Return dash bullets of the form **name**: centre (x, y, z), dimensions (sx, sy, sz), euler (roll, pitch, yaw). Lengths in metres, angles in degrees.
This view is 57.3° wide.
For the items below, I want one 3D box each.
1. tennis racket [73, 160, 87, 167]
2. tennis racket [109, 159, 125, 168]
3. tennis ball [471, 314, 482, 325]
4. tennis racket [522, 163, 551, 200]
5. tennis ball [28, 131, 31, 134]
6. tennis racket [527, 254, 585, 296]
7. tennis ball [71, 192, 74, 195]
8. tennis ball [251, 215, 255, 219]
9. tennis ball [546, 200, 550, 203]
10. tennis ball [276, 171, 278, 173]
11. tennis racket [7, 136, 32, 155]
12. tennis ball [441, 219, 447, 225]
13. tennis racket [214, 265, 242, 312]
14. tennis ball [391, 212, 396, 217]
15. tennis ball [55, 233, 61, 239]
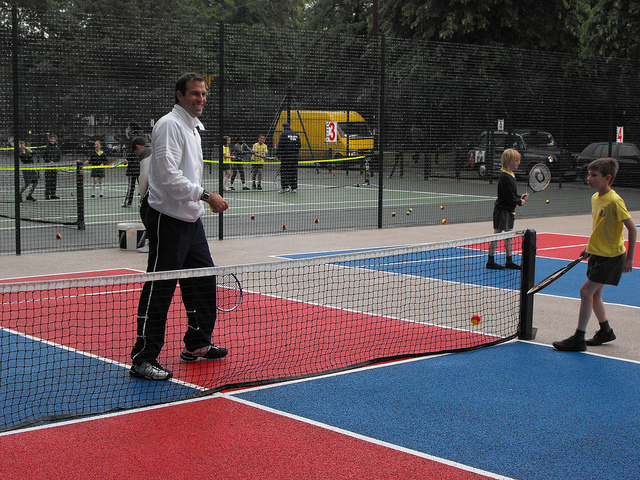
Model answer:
- **tennis racket**: centre (-4.751, -1.534, 11.619), dimensions (0.255, 0.134, 0.241), euler (-5, 11, -28)
- **tennis racket**: centre (-4.154, -1.572, 11.958), dimensions (0.288, 0.170, 0.117), euler (-1, 10, -11)
- **tennis ball**: centre (1.864, 0.934, 6.982), dimensions (0.098, 0.089, 0.107), euler (-4, 10, 1)
- **tennis racket**: centre (4.213, -1.175, 11.299), dimensions (0.376, 0.563, 0.699), euler (4, 10, 21)
- **tennis ball**: centre (-5.207, -1.939, 10.514), dimensions (0.033, 0.038, 0.065), euler (-3, 3, -9)
- **tennis racket**: centre (2.706, 0.350, 6.663), dimensions (0.531, 0.503, 0.884), euler (6, 11, 29)
- **tennis ball**: centre (-5.613, -1.059, 13.277), dimensions (0.064, 0.055, 0.066), euler (-1, 0, 0)
- **tennis ball**: centre (-1.640, -0.584, 14.318), dimensions (0.061, 0.069, 0.068), euler (8, 41, -10)
- **tennis ball**: centre (6.892, -1.198, 17.769), dimensions (0.114, 0.131, 0.151), euler (7, 12, 23)
- **tennis ball**: centre (-1.007, -1.605, 13.697), dimensions (0.055, 0.059, 0.057), euler (1, 3, 0)
- **tennis racket**: centre (-5.425, -1.753, 10.504), dimensions (0.147, 0.223, 0.281), euler (10, 13, 43)
- **tennis ball**: centre (3.220, -0.489, 15.248), dimensions (0.101, 0.088, 0.142), euler (7, -6, 12)
- **tennis racket**: centre (-1.224, 0.689, 7.900), dimensions (0.462, 0.531, 0.023), euler (-4, -8, 28)
- **tennis ball**: centre (1.867, -0.669, 15.004), dimensions (0.095, 0.070, 0.123), euler (-5, 7, -10)
- **tennis ball**: centre (-5.232, -0.090, 11.727), dimensions (0.103, 0.069, 0.108), euler (-3, -33, -2)
